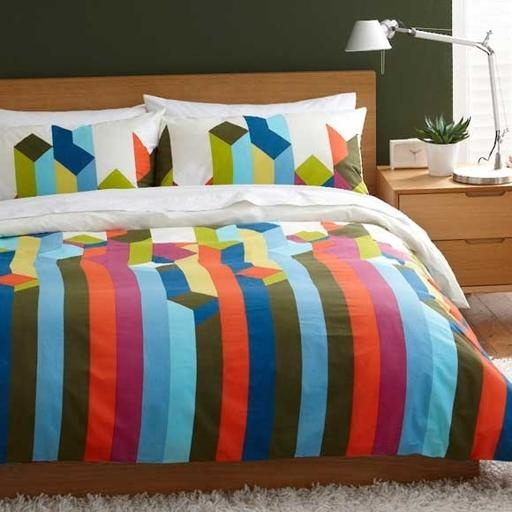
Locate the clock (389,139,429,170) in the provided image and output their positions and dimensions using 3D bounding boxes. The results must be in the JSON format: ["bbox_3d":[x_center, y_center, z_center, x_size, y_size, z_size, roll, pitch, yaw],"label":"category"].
[{"bbox_3d":[0.713,-0.476,2.839,0.141,0.113,0.056,0,16,1],"label":"clock"}]

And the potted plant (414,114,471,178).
[{"bbox_3d":[0.813,-0.489,2.669,0.183,0.221,0.182,-11,23,-19],"label":"potted plant"}]
